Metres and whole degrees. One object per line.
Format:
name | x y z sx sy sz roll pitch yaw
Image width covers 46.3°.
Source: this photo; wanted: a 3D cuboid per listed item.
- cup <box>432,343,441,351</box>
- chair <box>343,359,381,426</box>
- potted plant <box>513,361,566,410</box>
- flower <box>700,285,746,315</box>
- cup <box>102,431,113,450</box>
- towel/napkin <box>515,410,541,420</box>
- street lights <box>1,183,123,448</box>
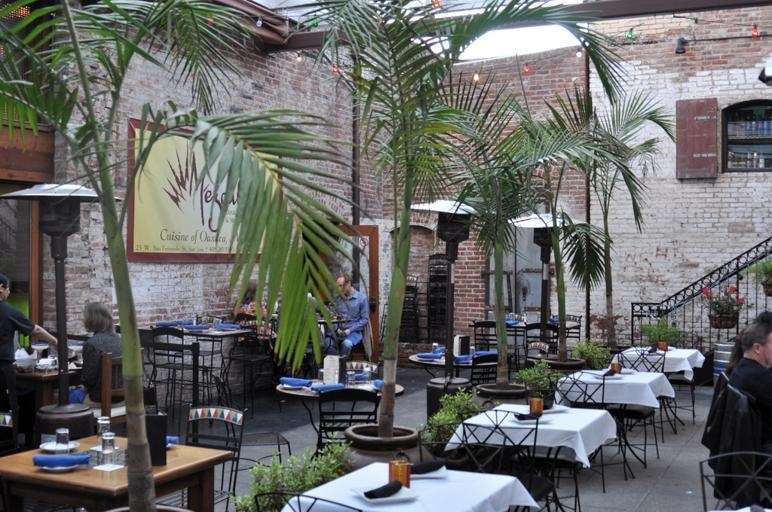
cup | 0.883 1.668 16.437 0.100 0.165 0.103 1 6 0
chair | -0.277 1.508 10.126 0.595 0.556 0.590 1 -4 -12
potted plant | 1.799 1.512 10.569 0.562 0.550 0.467 -2 -13 16
flower | 5.561 0.751 14.991 0.612 0.401 0.540 0 -6 5
cup | -2.362 1.576 7.663 0.116 0.128 0.114 1 -8 0
towel/napkin | 1.360 1.552 8.691 0.123 0.041 0.151 0 -3 -29
street lights | -3.233 0.367 9.009 0.853 2.242 0.549 -2 -2 43
